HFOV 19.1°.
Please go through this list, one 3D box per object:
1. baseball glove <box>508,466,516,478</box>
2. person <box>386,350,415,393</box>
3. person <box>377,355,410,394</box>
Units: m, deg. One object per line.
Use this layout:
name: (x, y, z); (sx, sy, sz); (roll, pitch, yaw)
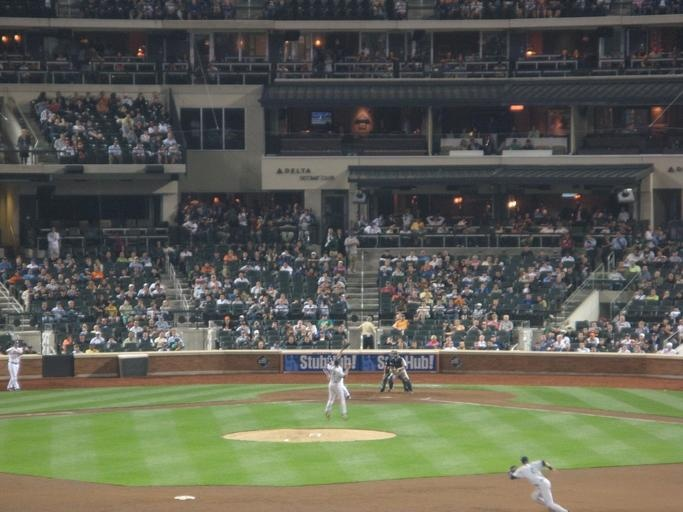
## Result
baseball glove: (7.152, 8.825, 82.169); (0.315, 0.373, 0.531); (0, -7, -5)
person: (2.832, 5.425, 94.529); (1.194, 1.902, 0.940); (-5, 12, 18)
person: (2.610, 5.669, 95.599); (1.412, 1.941, 1.001); (0, 30, 6)
